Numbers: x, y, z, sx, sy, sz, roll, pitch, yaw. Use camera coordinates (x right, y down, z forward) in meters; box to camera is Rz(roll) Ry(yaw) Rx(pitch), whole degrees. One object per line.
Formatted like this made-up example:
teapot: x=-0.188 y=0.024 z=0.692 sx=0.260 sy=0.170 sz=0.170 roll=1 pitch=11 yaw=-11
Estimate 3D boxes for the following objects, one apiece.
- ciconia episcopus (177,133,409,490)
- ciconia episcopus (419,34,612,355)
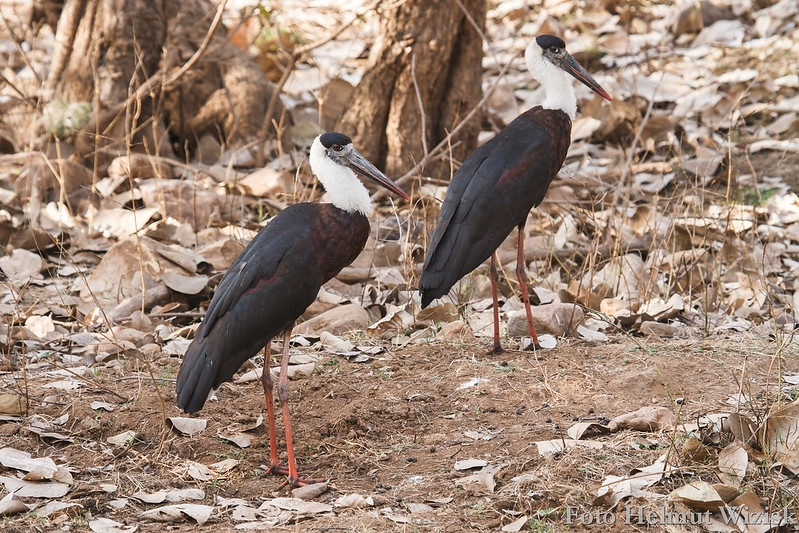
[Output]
ciconia episcopus: x=-0.905 y=0.195 z=6.568 sx=1.132 sy=2.462 sz=0.993 roll=11 pitch=8 yaw=-3
ciconia episcopus: x=0.879 y=-0.671 z=7.441 sx=1.056 sy=2.698 sz=0.938 roll=12 pitch=8 yaw=1
